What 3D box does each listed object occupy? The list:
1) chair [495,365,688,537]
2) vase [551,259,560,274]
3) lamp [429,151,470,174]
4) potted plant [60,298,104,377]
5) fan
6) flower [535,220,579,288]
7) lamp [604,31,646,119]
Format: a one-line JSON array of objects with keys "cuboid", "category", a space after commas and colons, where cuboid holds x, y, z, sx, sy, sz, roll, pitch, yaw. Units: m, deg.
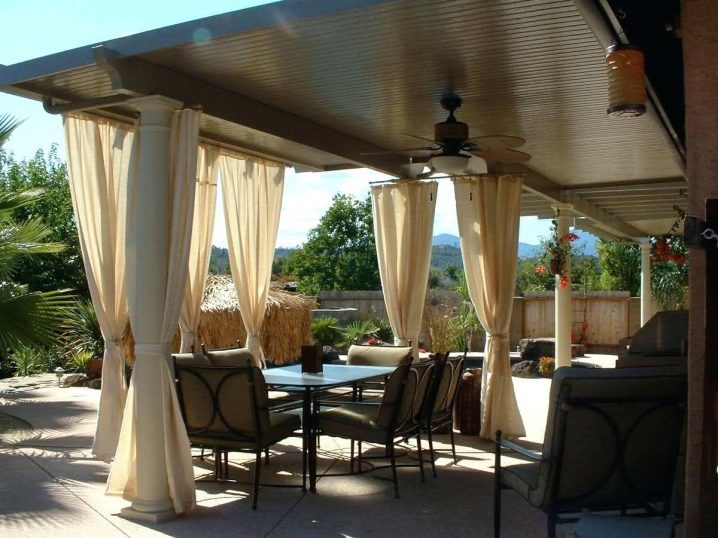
[{"cuboid": [1.145, 0.962, 3.325, 0.925, 1.086, 1.068, 3, -10, -10], "category": "chair"}, {"cuboid": [2.671, -0.044, 7.551, 0.135, 0.180, 0.207, 0, 0, 19], "category": "vase"}, {"cuboid": [0.759, -0.904, 4.630, 0.229, 0.087, 0.225, 1, -6, 1], "category": "lamp"}, {"cuboid": [-4.859, 1.143, 9.548, 0.921, 1.355, 0.971, -1, 11, -39], "category": "potted plant"}, {"cuboid": [0.944, -1.063, 4.675, 0.917, 0.386, 0.808, 0, 4, -36], "category": "fan"}, {"cuboid": [2.747, -0.251, 7.622, 0.367, 0.552, 0.397, 13, -5, -37], "category": "flower"}, {"cuboid": [1.190, -0.855, 2.475, 0.158, 0.348, 0.183, 1, 0, 24], "category": "lamp"}]
